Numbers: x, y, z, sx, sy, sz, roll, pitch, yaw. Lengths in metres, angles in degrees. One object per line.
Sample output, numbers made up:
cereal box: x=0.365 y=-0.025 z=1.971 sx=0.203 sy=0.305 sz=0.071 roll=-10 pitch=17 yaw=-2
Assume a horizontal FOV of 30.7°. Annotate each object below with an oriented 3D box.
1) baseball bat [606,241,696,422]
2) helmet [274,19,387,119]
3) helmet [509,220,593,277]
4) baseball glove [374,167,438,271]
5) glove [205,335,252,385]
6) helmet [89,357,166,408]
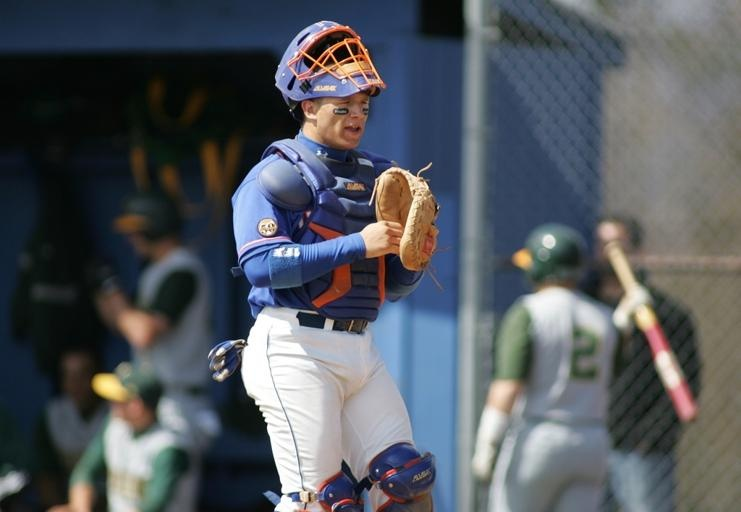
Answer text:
baseball bat: x=1.770 y=0.468 z=8.511 sx=0.151 sy=1.137 sz=0.156 roll=-20 pitch=-11 yaw=9
helmet: x=-0.247 y=-1.143 z=8.072 sx=0.561 sy=0.385 sz=0.413 roll=-12 pitch=-5 yaw=43
helmet: x=1.125 y=-0.044 z=8.545 sx=0.385 sy=0.354 sz=0.292 roll=15 pitch=24 yaw=25
baseball glove: x=0.218 y=-0.211 z=7.896 sx=0.197 sy=0.575 sz=0.410 roll=-4 pitch=1 yaw=-27
glove: x=-0.906 y=0.594 z=8.191 sx=0.133 sy=0.305 sz=0.250 roll=34 pitch=-11 yaw=36
helmet: x=-1.810 y=0.957 z=9.982 sx=0.420 sy=0.299 sz=0.200 roll=12 pitch=-38 yaw=-18
